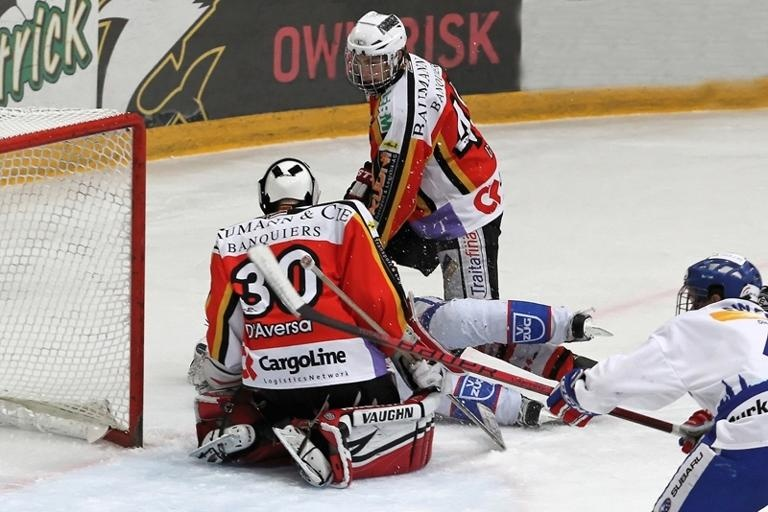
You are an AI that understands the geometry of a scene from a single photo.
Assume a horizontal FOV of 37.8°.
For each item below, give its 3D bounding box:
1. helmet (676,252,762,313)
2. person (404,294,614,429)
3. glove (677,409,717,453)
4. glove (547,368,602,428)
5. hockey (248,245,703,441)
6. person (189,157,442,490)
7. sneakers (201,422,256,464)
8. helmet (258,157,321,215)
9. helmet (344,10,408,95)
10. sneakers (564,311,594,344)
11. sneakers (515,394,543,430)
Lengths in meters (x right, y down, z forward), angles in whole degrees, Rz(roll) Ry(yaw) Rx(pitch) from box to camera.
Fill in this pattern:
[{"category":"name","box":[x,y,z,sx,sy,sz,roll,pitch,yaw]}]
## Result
[{"category":"helmet","box":[1.585,0.119,5.378,0.386,0.310,0.291,8,1,24]},{"category":"person","box":[0.602,0.528,5.867,1.089,0.332,0.557,7,-4,-1]},{"category":"glove","box":[1.488,0.820,5.310,0.081,0.222,0.166,43,12,-3]},{"category":"glove","box":[0.919,0.680,5.214,0.112,0.265,0.253,43,15,-39]},{"category":"hockey","box":[0.437,0.473,5.676,1.624,0.415,0.390,20,45,-8]},{"category":"person","box":[-0.382,0.313,5.855,1.453,1.550,1.115,-5,-7,30]},{"category":"sneakers","box":[-0.731,0.898,5.370,0.253,0.142,0.105,-20,5,20]},{"category":"helmet","box":[-0.448,-0.307,5.693,0.337,0.332,0.361,-1,-9,6]},{"category":"helmet","box":[-0.028,-1.152,6.366,0.344,0.384,0.398,19,43,37]},{"category":"sneakers","box":[1.034,0.368,5.816,0.165,0.147,0.124,0,9,25]},{"category":"sneakers","box":[0.775,0.818,5.895,0.150,0.141,0.163,-1,8,-38]}]
